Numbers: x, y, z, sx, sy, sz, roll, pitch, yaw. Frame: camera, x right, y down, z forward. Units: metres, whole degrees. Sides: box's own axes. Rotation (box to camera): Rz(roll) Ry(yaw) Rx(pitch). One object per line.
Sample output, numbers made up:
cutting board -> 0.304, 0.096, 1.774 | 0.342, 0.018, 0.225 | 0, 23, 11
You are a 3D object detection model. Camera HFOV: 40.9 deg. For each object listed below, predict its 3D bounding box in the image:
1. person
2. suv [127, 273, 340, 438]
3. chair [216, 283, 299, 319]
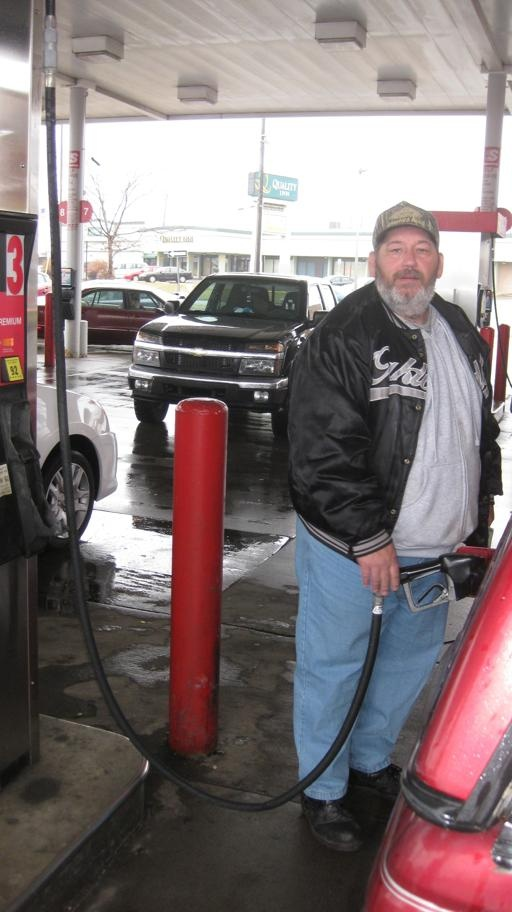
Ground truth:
person -> 0.423, 0.222, 2.223 | 0.780, 2.016, 0.425 | -6, 12, -41
suv -> -0.147, -1.567, 9.588 | 1.722, 1.539, 3.081 | 5, 11, 17
chair -> 0.133, -2.171, 9.582 | 0.601, 0.449, 0.973 | 9, 20, 11
